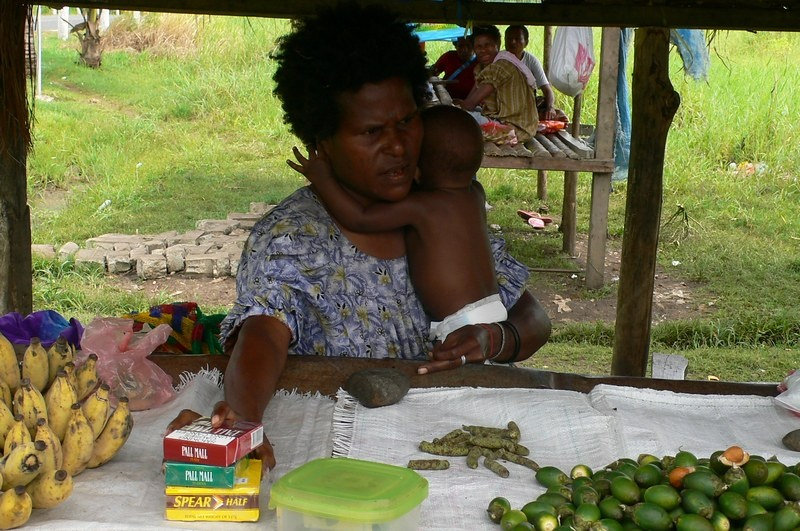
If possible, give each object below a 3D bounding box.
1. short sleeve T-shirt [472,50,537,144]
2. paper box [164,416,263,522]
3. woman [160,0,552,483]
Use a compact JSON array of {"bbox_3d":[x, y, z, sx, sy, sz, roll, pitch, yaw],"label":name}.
[{"bbox_3d":[0.898,-1.674,9.030,0.768,0.983,0.737,-5,9,-14],"label":"short sleeve T-shirt"},{"bbox_3d":[-0.703,0.769,3.644,0.364,0.249,0.360,3,26,0],"label":"paper box"},{"bbox_3d":[-0.114,-0.321,4.411,1.524,1.807,0.952,-3,12,-16],"label":"woman"}]
